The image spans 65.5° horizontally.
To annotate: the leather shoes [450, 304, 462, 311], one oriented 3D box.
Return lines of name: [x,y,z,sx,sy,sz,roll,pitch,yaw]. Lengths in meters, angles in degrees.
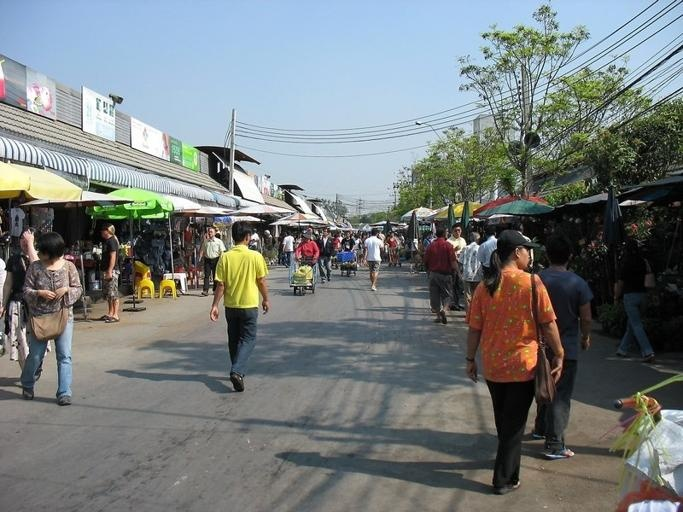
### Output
leather shoes: [2.908,1.323,13.527,0.248,0.247,0.190,1,3,12]

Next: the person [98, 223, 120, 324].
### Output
person: [-5.302,0.369,12.160,0.370,2.183,0.969,-1,3,-23]

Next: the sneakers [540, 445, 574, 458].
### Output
sneakers: [2.033,1.875,5.066,0.301,0.145,0.111,-4,10,-6]

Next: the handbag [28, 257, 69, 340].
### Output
handbag: [-3.508,0.670,6.344,0.453,0.647,0.278,2,32,-49]

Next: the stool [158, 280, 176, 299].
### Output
stool: [-5.479,1.092,16.810,0.582,0.587,0.603,-1,0,-1]

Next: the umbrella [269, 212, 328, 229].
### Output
umbrella: [-2.860,-2.185,33.654,2.254,0.849,2.228,3,6,37]

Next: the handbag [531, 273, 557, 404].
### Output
handbag: [1.649,0.683,4.376,0.192,1.018,0.221,1,3,20]

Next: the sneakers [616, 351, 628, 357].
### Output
sneakers: [4.608,1.644,8.774,0.078,0.106,0.225,5,1,13]

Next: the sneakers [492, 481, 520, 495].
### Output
sneakers: [1.367,1.912,4.438,0.230,0.096,0.084,-7,7,-27]

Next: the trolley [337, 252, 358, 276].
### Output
trolley: [0.159,0.438,26.264,1.053,1.186,1.136,1,5,13]

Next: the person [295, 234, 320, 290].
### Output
person: [-1.225,0.120,18.225,1.062,1.974,1.113,-5,10,-29]

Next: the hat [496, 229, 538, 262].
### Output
hat: [1.550,-0.130,4.661,0.317,0.187,0.212,-8,-10,7]

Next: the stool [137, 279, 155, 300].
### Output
stool: [-6.132,1.016,16.546,0.465,0.605,1.369,-1,4,-25]

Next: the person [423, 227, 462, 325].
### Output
person: [2.155,0.446,11.614,0.684,2.125,0.560,1,3,5]

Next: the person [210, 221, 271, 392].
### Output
person: [-1.388,0.636,7.208,0.754,2.181,0.986,0,3,-9]

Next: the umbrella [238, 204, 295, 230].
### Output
umbrella: [-4.002,-2.090,28.170,3.733,1.329,3.714,1,6,18]

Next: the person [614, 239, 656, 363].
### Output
person: [4.709,0.712,8.535,0.566,1.918,0.376,3,4,41]

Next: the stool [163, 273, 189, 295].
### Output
stool: [-5.376,0.913,17.370,0.661,0.563,0.691,-1,-1,19]

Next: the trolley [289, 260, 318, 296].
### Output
trolley: [-1.296,0.775,17.645,0.781,1.009,1.292,0,3,-3]

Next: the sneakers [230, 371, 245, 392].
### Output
sneakers: [-1.327,1.632,6.815,0.115,0.311,0.134,-3,44,14]

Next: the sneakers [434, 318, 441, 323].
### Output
sneakers: [2.119,1.438,11.781,0.123,0.090,0.077,8,-12,5]

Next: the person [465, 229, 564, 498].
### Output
person: [1.455,0.869,4.540,0.792,2.171,0.582,1,3,21]

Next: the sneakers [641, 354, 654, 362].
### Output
sneakers: [4.805,1.631,8.393,0.093,0.121,0.262,-2,1,-5]

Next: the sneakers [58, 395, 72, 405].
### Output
sneakers: [-3.297,1.723,6.326,0.143,0.113,0.154,-2,4,-30]
